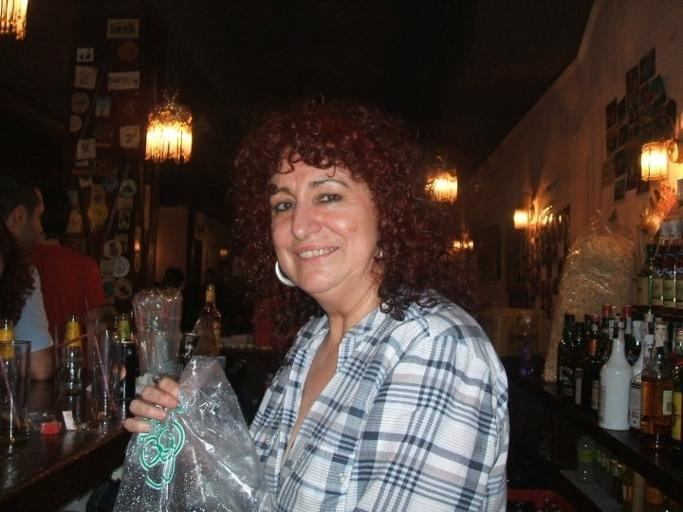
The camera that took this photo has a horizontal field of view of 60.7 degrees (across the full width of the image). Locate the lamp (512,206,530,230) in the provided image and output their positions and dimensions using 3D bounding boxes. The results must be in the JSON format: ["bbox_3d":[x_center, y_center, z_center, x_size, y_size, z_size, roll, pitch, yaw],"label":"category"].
[{"bbox_3d":[2.068,-0.427,6.673,0.161,0.191,0.181,0,-5,15],"label":"lamp"}]

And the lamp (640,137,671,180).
[{"bbox_3d":[1.890,-0.588,3.513,0.169,0.246,0.184,0,-6,5],"label":"lamp"}]
